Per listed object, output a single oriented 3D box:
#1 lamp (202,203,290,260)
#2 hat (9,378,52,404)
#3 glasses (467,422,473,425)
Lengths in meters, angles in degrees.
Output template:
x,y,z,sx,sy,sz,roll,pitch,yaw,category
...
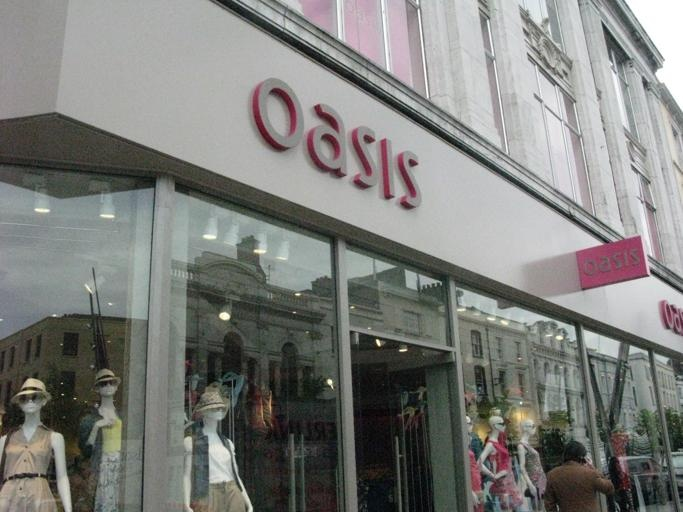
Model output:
x,y,z,sx,sy,sz,roll,pitch,yaw,category
-0.938,-0.231,5.751,0.512,0.209,0.530,2,-12,38,lamp
-2.418,1.042,4.696,0.180,0.121,0.205,6,-28,-41,hat
1.618,2.099,7.523,0.037,0.050,0.052,0,-15,8,glasses
